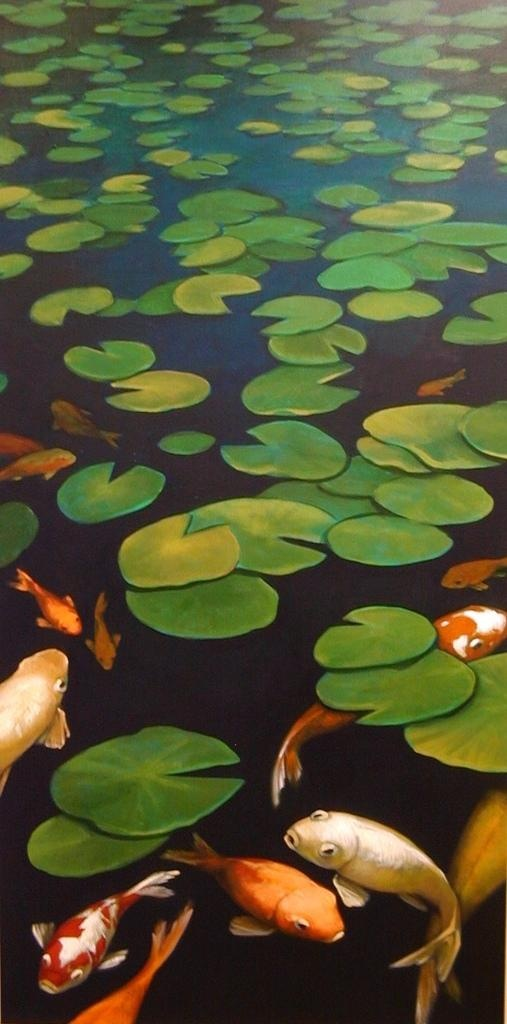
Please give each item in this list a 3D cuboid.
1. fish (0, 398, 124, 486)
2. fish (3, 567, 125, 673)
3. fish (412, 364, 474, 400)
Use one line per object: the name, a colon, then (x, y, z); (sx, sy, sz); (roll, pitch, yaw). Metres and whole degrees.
fish: (-0.218, -0.066, 1.116); (0.130, 0.069, 0.062); (-43, 7, -33)
fish: (-0.173, 0.098, 0.889); (0.092, 0.028, 0.066); (31, 55, 25)
fish: (0.232, -0.156, 1.162); (0.058, 0.014, 0.021); (-35, 70, -22)
